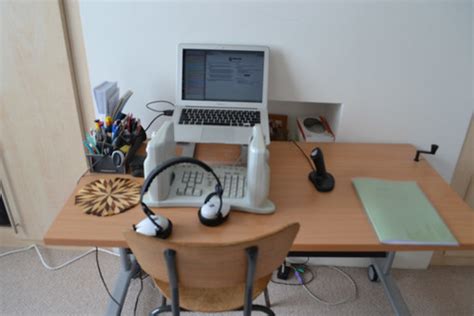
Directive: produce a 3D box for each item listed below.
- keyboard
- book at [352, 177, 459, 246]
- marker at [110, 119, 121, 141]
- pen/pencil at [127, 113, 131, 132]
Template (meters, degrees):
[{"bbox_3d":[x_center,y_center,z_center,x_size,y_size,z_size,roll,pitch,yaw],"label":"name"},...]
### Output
[{"bbox_3d":[-0.150,0.035,1.697,0.580,0.306,0.423,5,25,2],"label":"keyboard"},{"bbox_3d":[0.786,0.248,1.674,0.392,0.133,0.370,1,25,0],"label":"book"},{"bbox_3d":[-0.632,-0.146,1.798,0.026,0.122,0.024,-3,-26,38],"label":"marker"},{"bbox_3d":[-0.584,-0.195,1.884,0.022,0.100,0.011,9,-16,-9],"label":"pen/pencil"}]
